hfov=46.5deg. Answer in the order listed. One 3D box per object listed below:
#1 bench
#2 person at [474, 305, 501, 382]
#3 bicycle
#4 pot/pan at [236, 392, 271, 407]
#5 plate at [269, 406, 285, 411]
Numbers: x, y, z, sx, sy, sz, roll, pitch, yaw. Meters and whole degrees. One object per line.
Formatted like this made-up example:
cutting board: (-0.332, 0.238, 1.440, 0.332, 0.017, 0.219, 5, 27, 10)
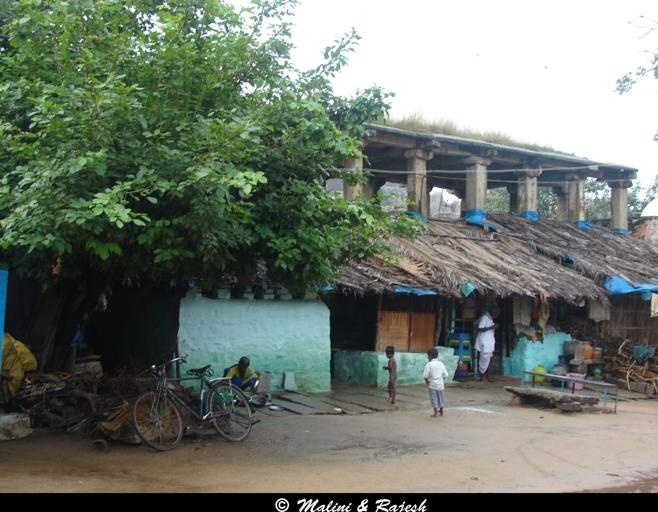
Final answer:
bench: (5.427, 2.868, 16.700, 1.706, 0.666, 4.123, -1, -6, 20)
person: (3.802, 2.108, 18.675, 0.536, 1.755, 1.269, 1, -6, 12)
bicycle: (-2.103, 2.232, 11.517, 0.954, 1.214, 2.243, -20, -18, 37)
pot/pan: (-1.416, 2.580, 14.181, 0.666, 0.174, 0.342, 1, 11, 0)
plate: (-1.004, 2.774, 14.015, 0.271, 0.059, 0.365, 2, -6, -8)
